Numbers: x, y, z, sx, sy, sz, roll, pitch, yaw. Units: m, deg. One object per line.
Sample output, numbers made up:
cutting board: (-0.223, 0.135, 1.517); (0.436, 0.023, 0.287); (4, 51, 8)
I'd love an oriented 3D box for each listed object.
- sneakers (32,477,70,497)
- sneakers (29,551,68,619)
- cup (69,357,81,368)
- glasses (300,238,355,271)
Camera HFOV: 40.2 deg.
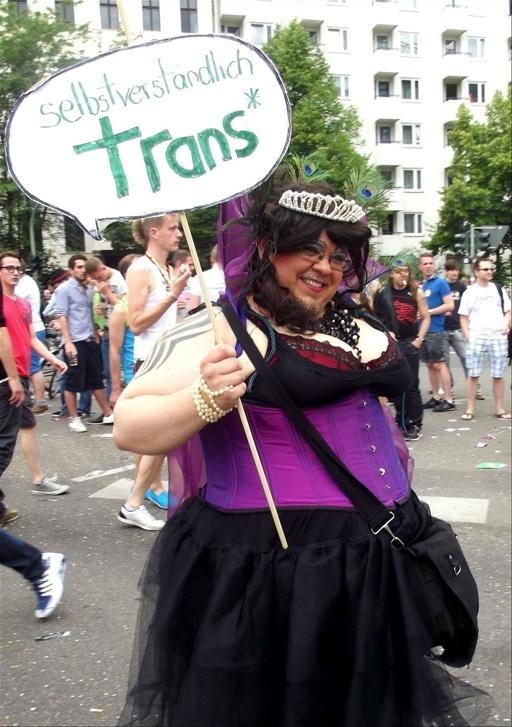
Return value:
sneakers: (-1.586, 0.956, 5.412); (0.338, 0.134, 0.117); (1, 7, -1)
sneakers: (-0.957, 1.031, 3.274); (0.151, 0.310, 0.118); (14, -23, -18)
cup: (-2.165, -0.009, 8.295); (0.121, 0.103, 0.122); (1, -8, 0)
glasses: (0.148, -0.239, 1.562); (0.084, 0.028, 0.084); (15, -11, -42)
